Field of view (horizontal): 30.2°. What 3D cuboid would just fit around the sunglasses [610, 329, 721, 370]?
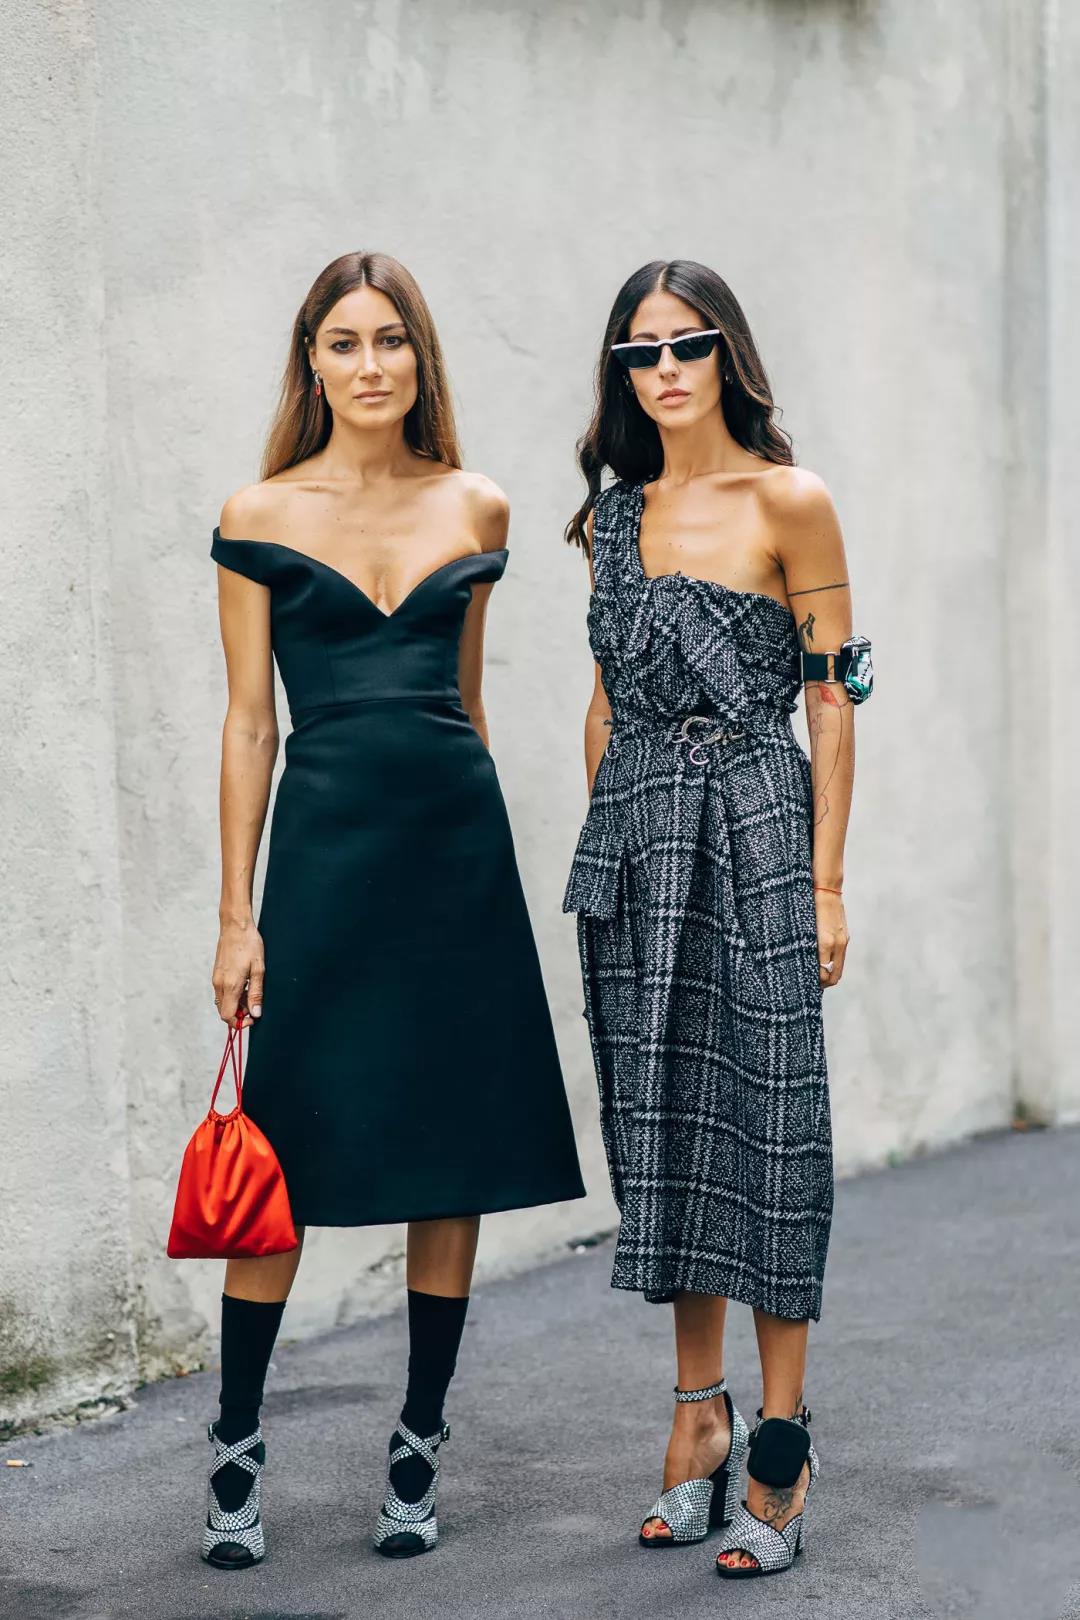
[{"bbox_3d":[0.192,-0.707,3.096,0.176,0.058,0.089,-1,4,9],"label":"sunglasses"}]

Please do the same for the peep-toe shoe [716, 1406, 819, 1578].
[{"bbox_3d":[0.341,1.024,3.044,0.107,0.122,0.317,1,4,16],"label":"peep-toe shoe"}]

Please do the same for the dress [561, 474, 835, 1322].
[{"bbox_3d":[0.240,0.128,3.120,0.412,1.294,0.295,-1,5,15],"label":"dress"}]

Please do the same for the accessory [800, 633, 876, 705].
[{"bbox_3d":[0.475,-0.219,3.130,0.137,0.071,0.119,1,6,9],"label":"accessory"}]

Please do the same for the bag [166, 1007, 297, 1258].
[{"bbox_3d":[-0.466,0.560,3.017,0.185,0.271,0.156,-4,5,-26],"label":"bag"}]

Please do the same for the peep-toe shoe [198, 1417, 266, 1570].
[{"bbox_3d":[-0.481,1.042,3.092,0.095,0.199,0.171,-3,4,-9],"label":"peep-toe shoe"}]
